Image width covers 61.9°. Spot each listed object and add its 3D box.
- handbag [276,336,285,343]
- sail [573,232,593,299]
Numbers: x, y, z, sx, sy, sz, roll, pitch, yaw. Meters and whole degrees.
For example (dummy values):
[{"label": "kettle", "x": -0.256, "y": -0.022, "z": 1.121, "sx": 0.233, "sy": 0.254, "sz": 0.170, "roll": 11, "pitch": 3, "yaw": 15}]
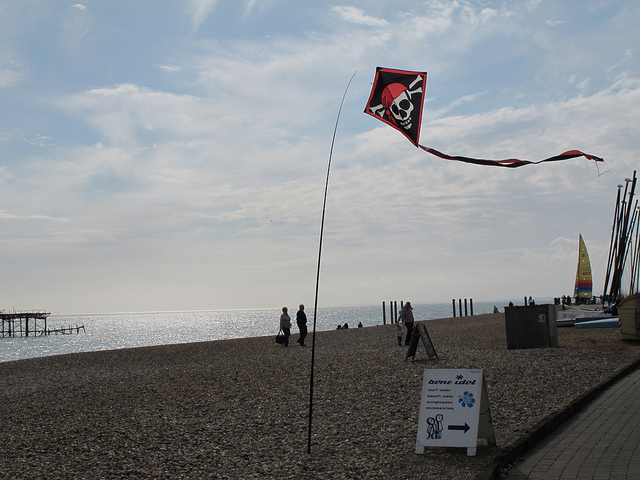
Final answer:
[{"label": "handbag", "x": -1.844, "y": 4.598, "z": 24.831, "sx": 0.477, "sy": 0.415, "sz": 0.258, "roll": 1, "pitch": -11, "yaw": -6}, {"label": "sail", "x": 26.540, "y": 2.696, "z": 53.865, "sx": 1.528, "sy": 6.411, "sz": 5.554, "roll": -7, "pitch": -7, "yaw": 25}]
